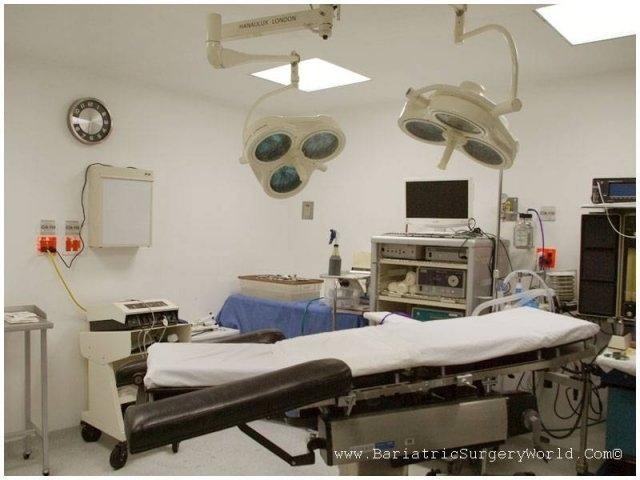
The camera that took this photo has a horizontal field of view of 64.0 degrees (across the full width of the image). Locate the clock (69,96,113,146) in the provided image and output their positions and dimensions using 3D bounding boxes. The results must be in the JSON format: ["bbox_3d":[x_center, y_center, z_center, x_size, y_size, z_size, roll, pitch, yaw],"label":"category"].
[{"bbox_3d":[-1.913,-0.996,4.328,0.336,0.416,0.062,1,-8,-25],"label":"clock"}]

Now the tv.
[{"bbox_3d":[1.044,-0.304,4.518,0.538,0.473,0.215,0,2,33],"label":"tv"}]

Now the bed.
[{"bbox_3d":[0.300,0.566,2.792,2.391,0.379,0.584,2,-3,-11],"label":"bed"}]

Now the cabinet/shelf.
[{"bbox_3d":[1.041,0.414,4.636,0.996,0.990,0.684,-1,10,36],"label":"cabinet/shelf"}]
